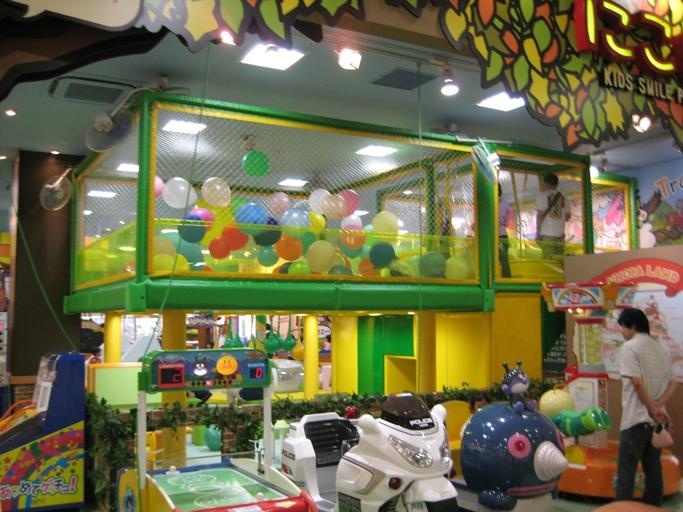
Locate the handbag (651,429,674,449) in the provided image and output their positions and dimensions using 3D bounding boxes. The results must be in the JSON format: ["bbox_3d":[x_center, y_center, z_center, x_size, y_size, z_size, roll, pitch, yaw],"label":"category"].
[{"bbox_3d":[2.471,1.398,4.224,0.278,0.151,0.088,5,-11,-36],"label":"handbag"}]

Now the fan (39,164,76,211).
[{"bbox_3d":[-3.670,-0.910,7.054,0.182,0.503,0.724,12,-53,-45],"label":"fan"}]

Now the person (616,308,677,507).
[{"bbox_3d":[2.328,1.178,4.277,0.499,1.550,0.409,6,-11,-41],"label":"person"}]

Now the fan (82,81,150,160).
[{"bbox_3d":[-2.028,-1.227,4.988,0.468,0.638,0.690,2,-9,-22],"label":"fan"}]

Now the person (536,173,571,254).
[{"bbox_3d":[2.798,-0.550,7.299,0.619,1.087,0.170,4,-10,-32],"label":"person"}]
